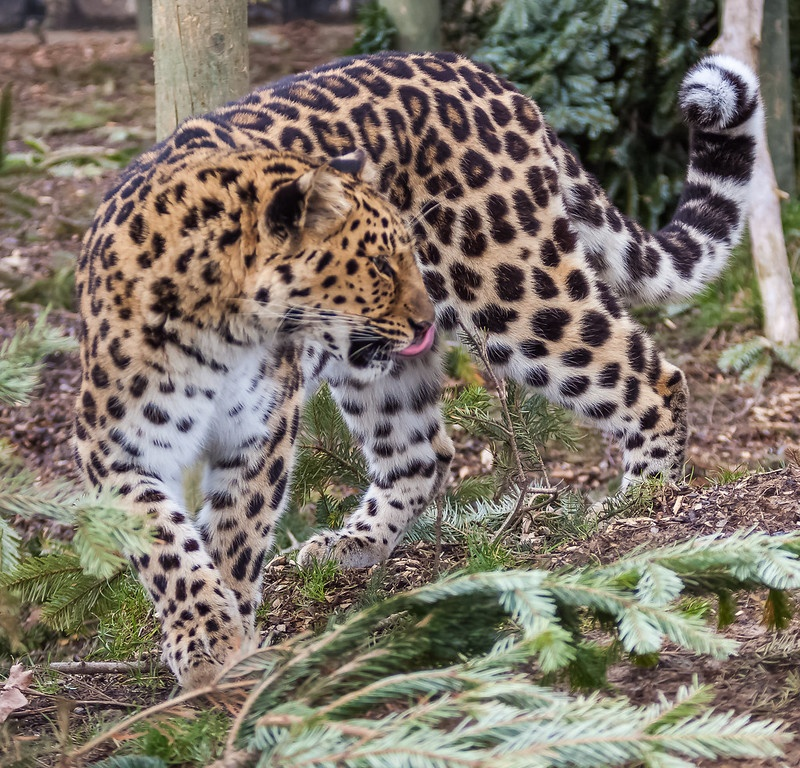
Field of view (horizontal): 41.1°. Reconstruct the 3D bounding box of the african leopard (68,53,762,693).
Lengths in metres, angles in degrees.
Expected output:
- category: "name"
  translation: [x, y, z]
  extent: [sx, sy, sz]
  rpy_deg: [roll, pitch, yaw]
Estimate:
- category: "african leopard"
  translation: [0.051, -0.157, 3.558]
  extent: [2.683, 1.720, 1.129]
  rpy_deg: [-22, 33, -39]
